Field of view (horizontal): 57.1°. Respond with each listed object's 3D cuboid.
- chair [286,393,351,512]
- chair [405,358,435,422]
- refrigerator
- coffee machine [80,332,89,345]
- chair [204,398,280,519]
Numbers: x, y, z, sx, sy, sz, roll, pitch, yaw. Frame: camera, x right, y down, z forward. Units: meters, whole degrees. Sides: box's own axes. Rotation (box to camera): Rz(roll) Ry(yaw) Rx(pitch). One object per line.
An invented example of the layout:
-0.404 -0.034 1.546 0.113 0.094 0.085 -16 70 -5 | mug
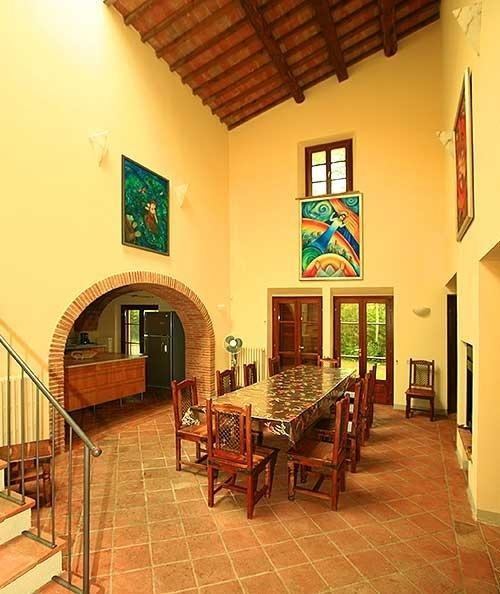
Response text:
0.724 1.522 4.875 0.615 1.093 1.142 0 1 12 | chair
2.915 1.561 7.876 0.470 0.934 0.889 1 1 21 | chair
-1.852 1.143 9.844 0.839 1.696 0.434 1 2 23 | refrigerator
-3.693 0.918 10.261 0.194 0.256 0.430 0 1 -20 | coffee machine
-0.108 1.524 4.646 0.599 1.132 0.659 4 5 38 | chair
